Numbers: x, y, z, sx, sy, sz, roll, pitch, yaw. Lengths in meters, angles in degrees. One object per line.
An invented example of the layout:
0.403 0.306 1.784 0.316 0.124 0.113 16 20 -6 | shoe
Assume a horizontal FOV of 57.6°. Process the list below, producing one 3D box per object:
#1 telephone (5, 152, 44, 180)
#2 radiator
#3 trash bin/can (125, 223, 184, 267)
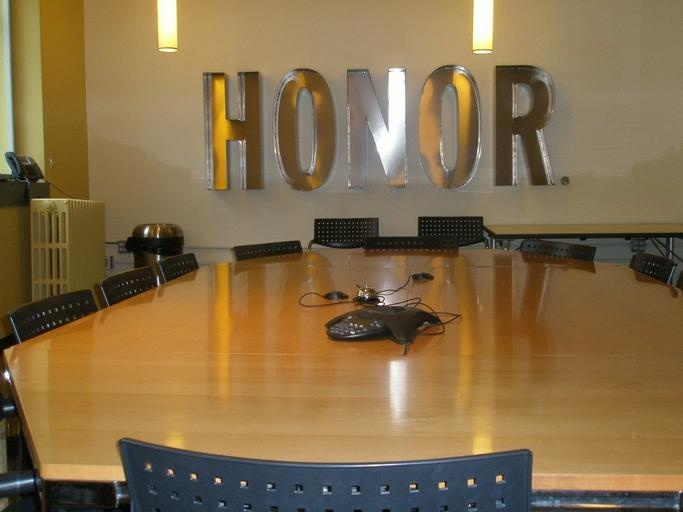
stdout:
-2.207 -0.609 4.289 0.161 0.185 0.359 0 4 9 | telephone
-1.823 -0.048 4.062 0.216 0.688 0.637 1 5 3 | radiator
-1.503 -0.167 5.187 0.447 0.511 0.405 3 5 12 | trash bin/can
